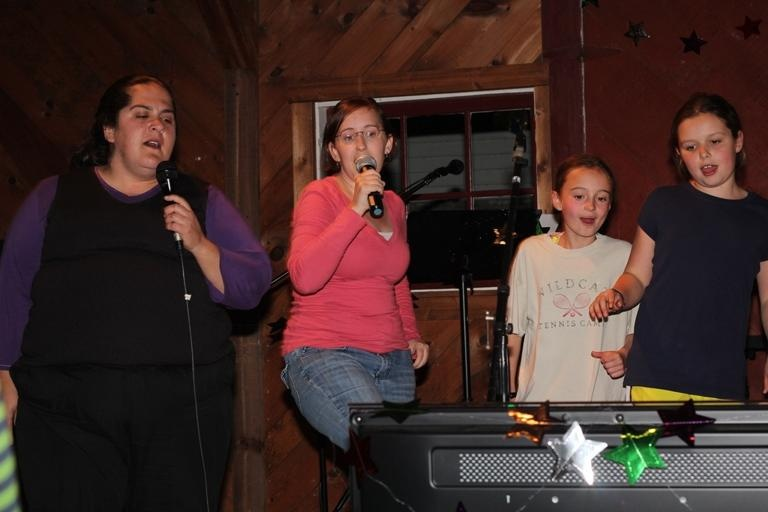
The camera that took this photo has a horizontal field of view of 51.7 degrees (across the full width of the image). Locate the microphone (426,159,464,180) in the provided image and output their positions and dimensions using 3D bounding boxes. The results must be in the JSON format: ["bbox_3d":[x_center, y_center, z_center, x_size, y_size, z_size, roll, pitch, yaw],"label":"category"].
[{"bbox_3d":[0.342,-0.495,4.555,0.184,0.116,0.449,-2,4,7],"label":"microphone"}]

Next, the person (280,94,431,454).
[{"bbox_3d":[-0.166,0.026,3.283,0.539,1.394,0.885,-1,4,11],"label":"person"}]

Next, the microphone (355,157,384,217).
[{"bbox_3d":[-0.067,-0.289,3.286,0.083,0.093,0.301,-1,25,-1],"label":"microphone"}]
